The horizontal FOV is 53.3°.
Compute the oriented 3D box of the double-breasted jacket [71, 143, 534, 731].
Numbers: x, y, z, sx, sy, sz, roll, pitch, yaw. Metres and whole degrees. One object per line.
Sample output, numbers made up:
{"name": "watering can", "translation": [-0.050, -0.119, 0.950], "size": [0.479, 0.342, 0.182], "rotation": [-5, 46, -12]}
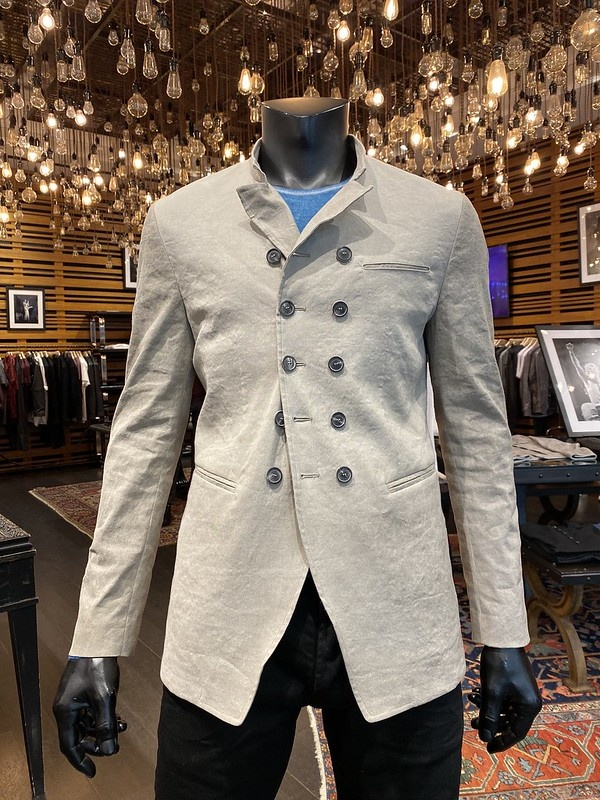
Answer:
{"name": "double-breasted jacket", "translation": [-0.009, 0.010, 0.702], "size": [0.513, 0.643, 0.303], "rotation": [-2, 6, 17]}
